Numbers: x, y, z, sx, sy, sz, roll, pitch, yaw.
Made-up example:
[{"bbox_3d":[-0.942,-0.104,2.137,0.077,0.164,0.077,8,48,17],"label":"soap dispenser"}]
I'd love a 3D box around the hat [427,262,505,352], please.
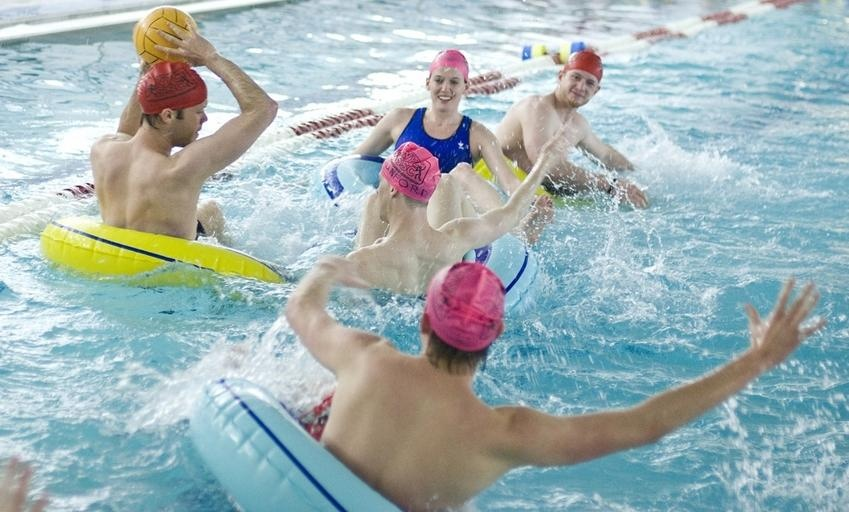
[{"bbox_3d":[0.192,0.263,4.479,0.575,0.451,0.505,3,26,-4],"label":"hat"}]

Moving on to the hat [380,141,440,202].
[{"bbox_3d":[-0.100,-0.580,5.407,0.417,0.315,0.327,48,41,14],"label":"hat"}]

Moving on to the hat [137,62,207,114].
[{"bbox_3d":[-1.816,-1.219,5.725,0.504,0.356,0.348,7,33,7],"label":"hat"}]
